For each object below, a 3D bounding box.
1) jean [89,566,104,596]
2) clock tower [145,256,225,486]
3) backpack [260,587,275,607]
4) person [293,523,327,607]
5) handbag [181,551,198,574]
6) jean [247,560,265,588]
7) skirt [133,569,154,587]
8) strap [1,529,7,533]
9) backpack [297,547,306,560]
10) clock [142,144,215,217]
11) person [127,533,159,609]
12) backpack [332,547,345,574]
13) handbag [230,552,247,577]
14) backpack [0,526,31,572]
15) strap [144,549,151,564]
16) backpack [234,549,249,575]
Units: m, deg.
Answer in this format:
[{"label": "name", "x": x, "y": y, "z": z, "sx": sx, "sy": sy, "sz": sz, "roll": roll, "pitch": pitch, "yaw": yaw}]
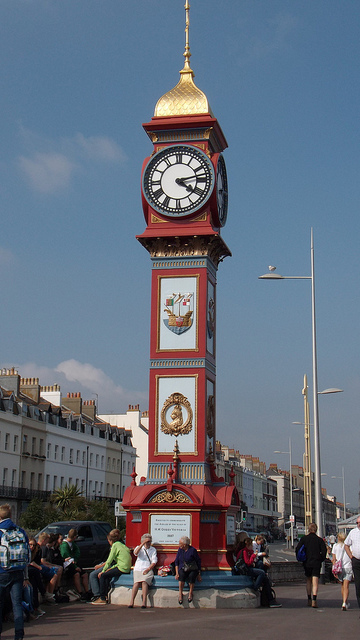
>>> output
[{"label": "jean", "x": -1.623, "y": 5.104, "z": 19.184, "sx": 0.281, "sy": 0.790, "sz": 0.185, "roll": 0, "pitch": -49, "yaw": 7}, {"label": "clock tower", "x": 0.076, "y": 0.967, "z": 21.010, "sx": 1.552, "sy": 5.069, "sz": 1.595, "roll": 0, "pitch": -12, "yaw": -1}, {"label": "backpack", "x": 1.709, "y": 5.420, "z": 19.249, "sx": 0.223, "sy": 0.345, "sz": 0.307, "roll": -5, "pitch": -13, "yaw": 18}, {"label": "person", "x": 2.681, "y": 4.864, "z": 19.602, "sx": 0.629, "sy": 1.590, "sz": 1.837, "roll": -2, "pitch": -13, "yaw": 7}, {"label": "handbag", "x": 0.221, "y": 4.460, "z": 18.093, "sx": 0.259, "sy": 0.363, "sz": 0.190, "roll": -21, "pitch": -14, "yaw": -17}, {"label": "jean", "x": 1.508, "y": 4.940, "z": 19.228, "sx": 0.323, "sy": 0.628, "sz": 0.362, "roll": 1, "pitch": -15, "yaw": 4}, {"label": "skirt", "x": -0.641, "y": 4.796, "z": 18.356, "sx": 0.441, "sy": 0.270, "sz": 0.279, "roll": 8, "pitch": -16, "yaw": -34}, {"label": "strap", "x": -2.360, "y": 2.782, "z": 13.028, "sx": 0.106, "sy": 0.038, "sz": 0.026, "roll": -9, "pitch": 14, "yaw": -34}, {"label": "backpack", "x": 2.417, "y": 4.550, "z": 19.242, "sx": 0.153, "sy": 0.313, "sz": 0.205, "roll": 0, "pitch": -4, "yaw": -7}, {"label": "clock", "x": -0.001, "y": -3.129, "z": 22.157, "sx": 1.585, "sy": 0.112, "sz": 1.871, "roll": -4, "pitch": -50, "yaw": -8}, {"label": "person", "x": -0.706, "y": 4.696, "z": 18.432, "sx": 0.523, "sy": 1.313, "sz": 0.501, "roll": 0, "pitch": -12, "yaw": -3}, {"label": "backpack", "x": 3.165, "y": 4.718, "z": 19.253, "sx": 0.249, "sy": 0.451, "sz": 0.241, "roll": -2, "pitch": -13, "yaw": 8}, {"label": "handbag", "x": 1.218, "y": 4.856, "z": 19.424, "sx": 0.329, "sy": 0.405, "sz": 0.414, "roll": -3, "pitch": -34, "yaw": 8}, {"label": "backpack", "x": -2.199, "y": 3.052, "z": 13.099, "sx": 0.274, "sy": 0.576, "sz": 0.587, "roll": -7, "pitch": -14, "yaw": 28}, {"label": "strap", "x": -0.601, "y": 4.448, "z": 18.518, "sx": 0.034, "sy": 0.241, "sz": 0.162, "roll": 10, "pitch": -16, "yaw": -40}, {"label": "backpack", "x": 1.252, "y": 4.750, "z": 19.320, "sx": 0.160, "sy": 0.464, "sz": 0.343, "roll": 3, "pitch": -13, "yaw": -17}]
